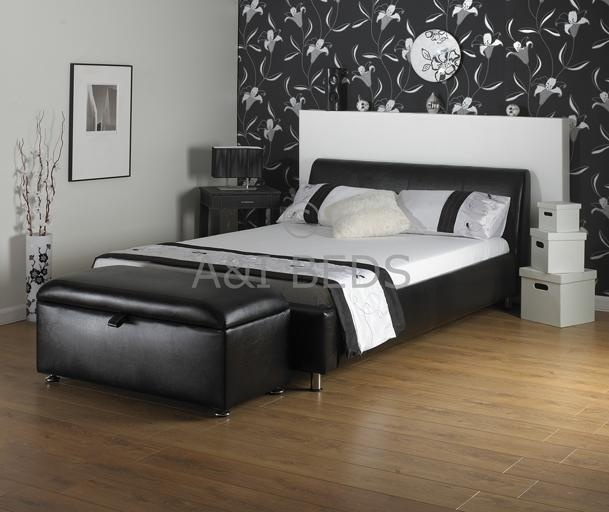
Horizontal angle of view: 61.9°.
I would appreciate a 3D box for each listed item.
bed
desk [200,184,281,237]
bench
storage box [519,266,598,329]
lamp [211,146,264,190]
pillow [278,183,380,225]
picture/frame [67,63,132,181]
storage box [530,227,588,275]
[{"bbox_3d":[0.513,0.060,3.582,1.719,0.976,2.340,8,12,43],"label":"bed"},{"bbox_3d":[-0.607,-0.371,5.097,0.687,0.630,0.589,-3,18,-17],"label":"desk"},{"bbox_3d":[-0.695,0.360,2.462,1.115,0.515,0.503,3,6,26],"label":"bench"},{"bbox_3d":[1.987,0.307,3.882,0.560,0.380,0.562,1,4,8],"label":"storage box"},{"bbox_3d":[-0.680,-0.884,5.037,0.492,0.385,0.273,-3,18,-21],"label":"lamp"},{"bbox_3d":[0.127,-0.388,4.473,0.233,0.502,0.776,17,0,-37],"label":"pillow"},{"bbox_3d":[-1.695,-1.109,4.216,0.092,1.003,0.581,4,6,31],"label":"picture/frame"},{"bbox_3d":[1.914,-0.038,3.834,0.393,0.258,0.382,-4,6,-29],"label":"storage box"}]
